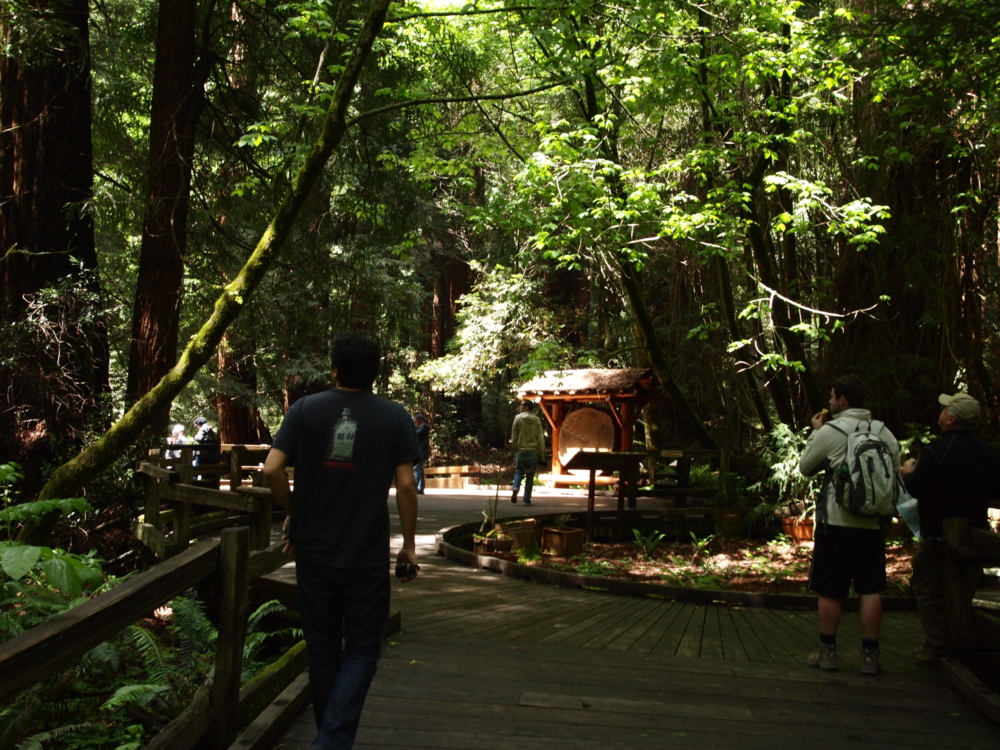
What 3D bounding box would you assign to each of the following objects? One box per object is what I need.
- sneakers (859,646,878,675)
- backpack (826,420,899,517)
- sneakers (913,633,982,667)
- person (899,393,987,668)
[{"bbox_3d":[2.807,2.146,6.419,0.170,0.141,0.184,4,-2,7],"label":"sneakers"},{"bbox_3d":[2.785,0.697,6.516,0.459,0.821,0.426,6,-13,-18],"label":"backpack"},{"bbox_3d":[3.394,2.084,6.465,0.424,0.290,0.227,3,-2,33],"label":"sneakers"},{"bbox_3d":[3.445,1.152,6.611,0.624,2.051,0.619,3,-1,29],"label":"person"}]
